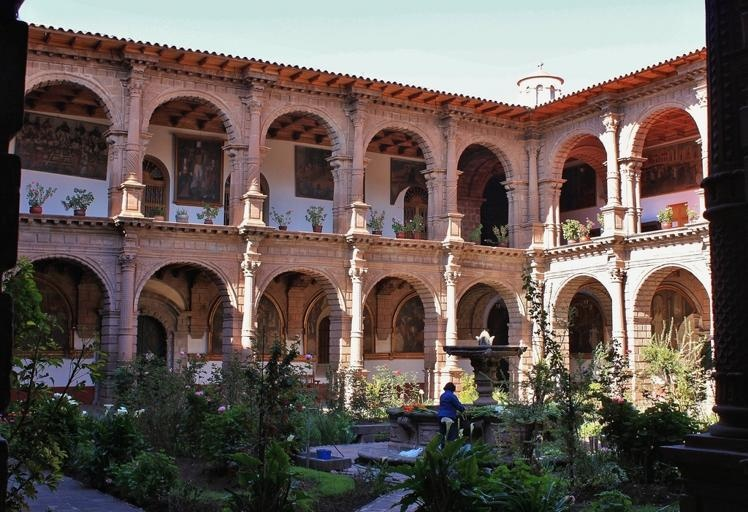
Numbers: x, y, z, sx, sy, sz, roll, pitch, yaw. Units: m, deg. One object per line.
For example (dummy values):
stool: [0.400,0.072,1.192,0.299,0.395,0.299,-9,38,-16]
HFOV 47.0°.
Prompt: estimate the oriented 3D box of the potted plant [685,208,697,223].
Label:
potted plant: [8.972,-1.079,24.160,0.242,0.511,0.733,-2,-13,20]

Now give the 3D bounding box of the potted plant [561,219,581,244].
potted plant: [6.301,-0.758,27.360,0.370,0.812,0.635,8,-13,-25]

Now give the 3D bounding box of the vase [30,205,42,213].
vase: [-8.939,-1.201,22.804,0.238,0.176,0.244,-2,-9,9]

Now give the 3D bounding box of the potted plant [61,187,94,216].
potted plant: [-8.463,-1.525,24.376,0.727,0.847,0.824,5,-11,-11]

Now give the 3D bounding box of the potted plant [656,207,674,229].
potted plant: [8.589,-1.078,25.306,0.345,0.879,0.974,-2,-13,16]

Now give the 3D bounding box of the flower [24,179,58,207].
flower: [-9.490,-1.770,24.335,0.831,0.849,0.667,0,-9,4]

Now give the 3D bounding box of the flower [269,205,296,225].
flower: [-3.039,-1.286,28.381,0.674,0.546,0.694,0,-4,20]

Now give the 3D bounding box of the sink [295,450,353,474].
sink: [-0.952,3.622,15.059,0.898,0.317,1.099,-2,-13,18]

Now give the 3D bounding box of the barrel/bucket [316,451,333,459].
barrel/bucket: [-0.886,3.530,15.161,0.183,0.183,0.181,1,-8,0]

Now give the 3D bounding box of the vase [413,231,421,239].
vase: [1.449,-0.652,28.351,0.209,0.163,0.214,0,-5,-1]
